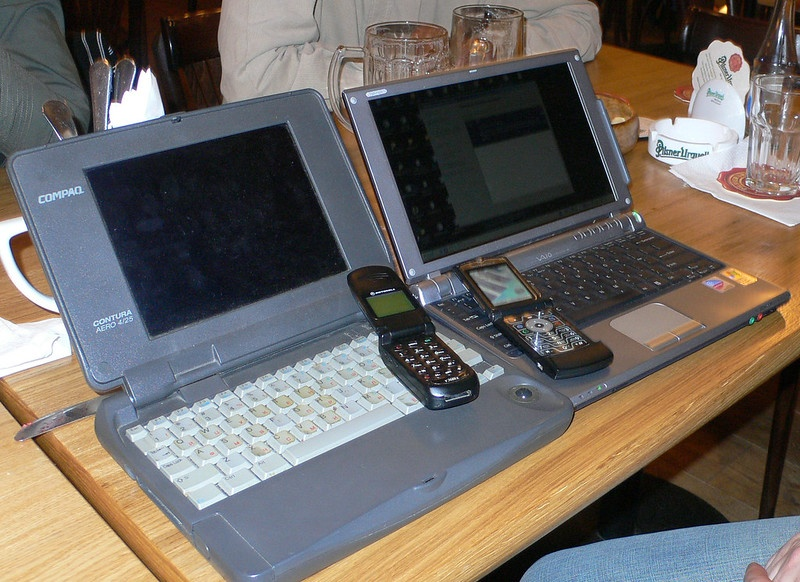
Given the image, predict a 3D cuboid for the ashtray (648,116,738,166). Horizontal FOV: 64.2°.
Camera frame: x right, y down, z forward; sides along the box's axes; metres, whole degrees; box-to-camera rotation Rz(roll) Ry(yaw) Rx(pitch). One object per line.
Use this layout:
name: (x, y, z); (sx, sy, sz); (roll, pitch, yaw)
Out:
ashtray: (0.586, -0.298, 1.268); (0.135, 0.046, 0.133); (10, 35, 30)

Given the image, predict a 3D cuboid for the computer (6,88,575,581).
computer: (-0.161, 0.102, 0.764); (0.499, 0.249, 0.563); (-25, 49, -31)

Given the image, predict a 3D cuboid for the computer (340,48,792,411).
computer: (0.178, -0.013, 0.990); (0.560, 0.318, 0.530); (-21, 46, -28)

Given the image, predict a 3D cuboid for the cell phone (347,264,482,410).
cell phone: (0.010, 0.054, 0.786); (0.079, 0.092, 0.246); (-16, 41, -27)

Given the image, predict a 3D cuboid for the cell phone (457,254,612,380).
cell phone: (0.161, 0.032, 0.789); (0.100, 0.030, 0.197); (-17, 50, -30)
